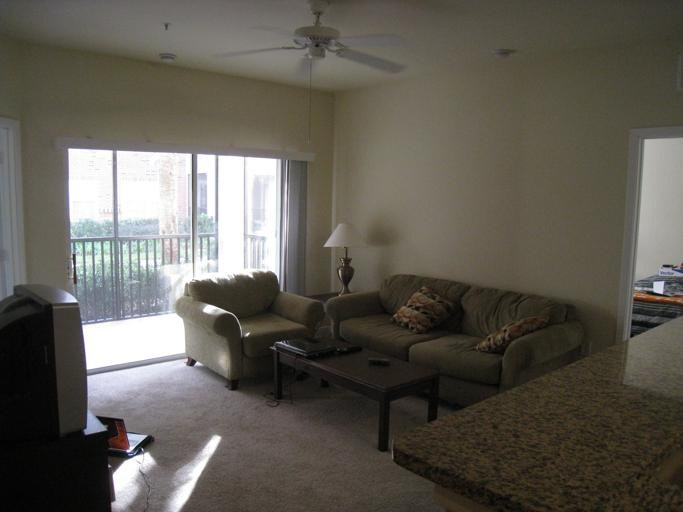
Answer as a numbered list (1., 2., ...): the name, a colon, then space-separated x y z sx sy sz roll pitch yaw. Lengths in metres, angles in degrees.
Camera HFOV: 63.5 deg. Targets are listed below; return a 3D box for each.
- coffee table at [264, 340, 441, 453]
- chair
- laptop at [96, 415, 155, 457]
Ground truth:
1. coffee table: 0.125 1.069 4.493 1.260 0.522 0.624 11 16 40
2. chair: -0.904 0.677 5.534 1.365 0.906 1.195 -1 8 -27
3. laptop: -1.526 1.237 3.988 0.236 0.326 0.350 3 13 8
